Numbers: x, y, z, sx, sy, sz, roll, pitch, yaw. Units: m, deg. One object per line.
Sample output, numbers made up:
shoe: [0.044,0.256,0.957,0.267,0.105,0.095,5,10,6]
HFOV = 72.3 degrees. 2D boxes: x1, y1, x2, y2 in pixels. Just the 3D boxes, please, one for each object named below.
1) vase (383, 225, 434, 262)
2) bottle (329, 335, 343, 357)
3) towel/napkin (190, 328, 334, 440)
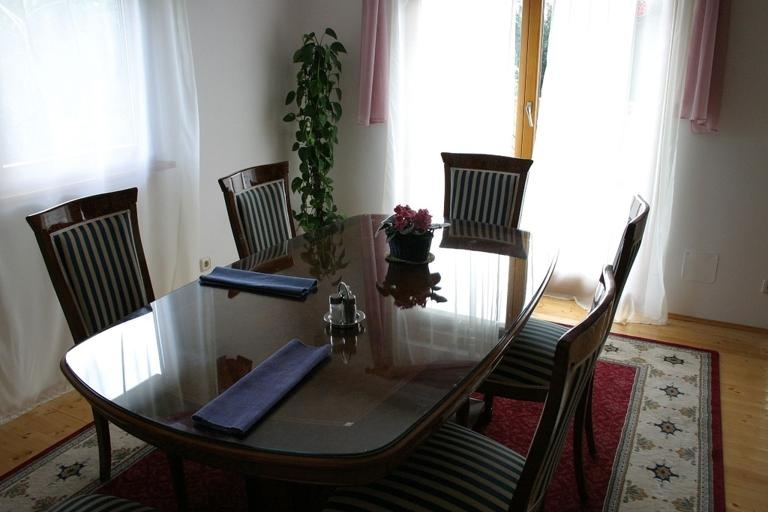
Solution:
vase: [0.130,-0.053,2.532,0.171,0.122,0.169,2,10,11]
bottle: [-0.179,0.339,1.974,0.041,0.040,0.055,2,13,1]
towel/napkin: [-0.400,0.432,1.784,0.198,0.056,0.373,10,33,31]
